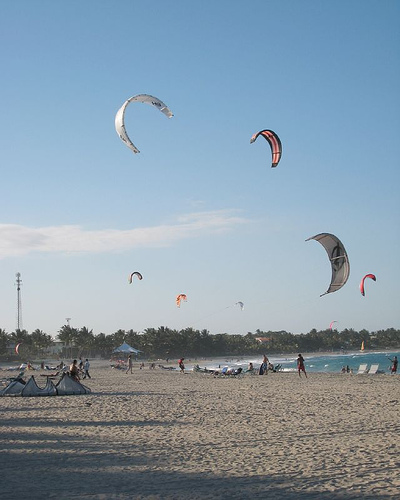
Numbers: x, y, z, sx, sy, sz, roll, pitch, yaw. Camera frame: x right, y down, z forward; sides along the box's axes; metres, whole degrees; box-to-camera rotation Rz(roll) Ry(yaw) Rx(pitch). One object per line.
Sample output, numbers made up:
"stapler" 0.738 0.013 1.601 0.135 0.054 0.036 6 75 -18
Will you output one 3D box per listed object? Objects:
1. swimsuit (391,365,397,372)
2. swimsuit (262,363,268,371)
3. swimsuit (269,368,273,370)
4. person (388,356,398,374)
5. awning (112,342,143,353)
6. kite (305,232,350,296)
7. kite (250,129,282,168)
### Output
"swimsuit" 8.798 5.350 33.130 0.198 0.284 0.571 -4 -9 11
"swimsuit" 2.993 5.377 33.760 0.264 0.361 0.122 -2 -14 9
"swimsuit" 3.512 5.877 36.334 0.229 0.063 0.211 -2 29 2
"person" 8.808 5.223 33.342 0.313 0.750 2.385 -4 -9 14
"awning" -5.986 7.918 58.695 1.927 0.810 1.830 1 -13 -3
"kite" 3.787 0.154 20.380 0.425 1.378 1.621 6 -1 28
"kite" 2.000 -2.898 21.125 0.546 1.239 1.453 -4 -9 13
